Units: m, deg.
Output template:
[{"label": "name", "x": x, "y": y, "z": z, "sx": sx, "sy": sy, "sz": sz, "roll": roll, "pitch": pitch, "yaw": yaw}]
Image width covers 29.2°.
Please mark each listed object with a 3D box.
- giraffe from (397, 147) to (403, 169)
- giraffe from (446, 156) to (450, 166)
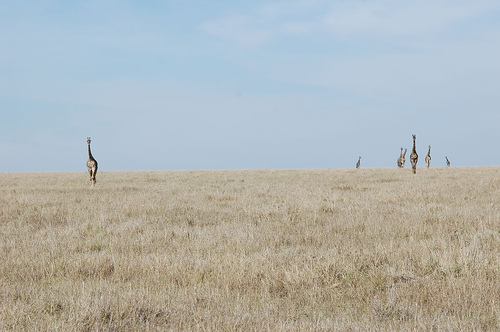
[{"label": "giraffe", "x": 9.615, "y": -0.278, "z": 61.404, "sx": 0.406, "sy": 1.763, "sz": 1.026, "roll": 0, "pitch": -23, "yaw": 8}, {"label": "giraffe", "x": 9.484, "y": -0.188, "z": 46.185, "sx": 0.214, "sy": 0.772, "sz": 0.373, "roll": 1, "pitch": 16, "yaw": 9}]
